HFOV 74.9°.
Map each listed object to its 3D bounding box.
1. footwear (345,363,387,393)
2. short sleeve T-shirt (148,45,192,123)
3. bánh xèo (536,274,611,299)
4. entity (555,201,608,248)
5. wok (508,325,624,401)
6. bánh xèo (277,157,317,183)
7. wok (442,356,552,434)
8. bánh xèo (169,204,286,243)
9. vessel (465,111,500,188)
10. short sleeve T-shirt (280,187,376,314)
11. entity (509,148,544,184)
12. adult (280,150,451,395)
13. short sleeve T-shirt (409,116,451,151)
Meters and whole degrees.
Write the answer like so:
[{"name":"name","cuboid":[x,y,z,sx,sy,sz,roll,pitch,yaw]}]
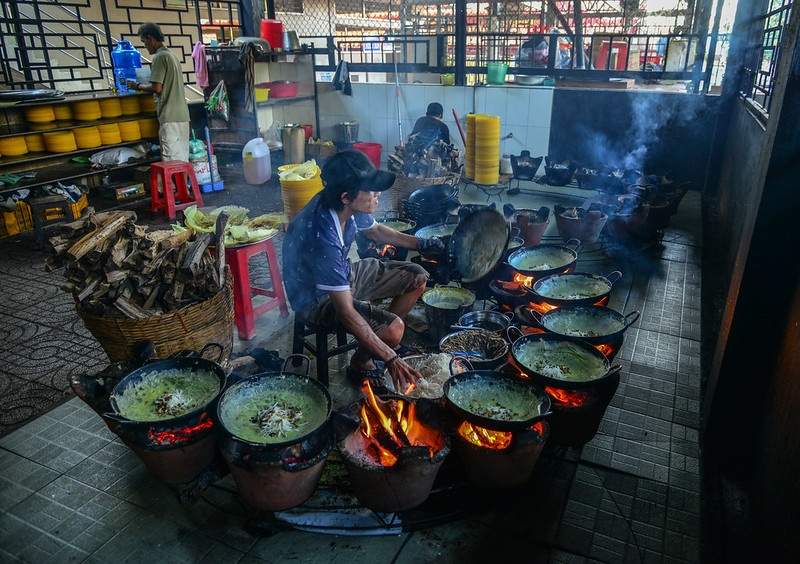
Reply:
[{"name":"footwear","cuboid":[-0.318,0.880,4.912,0.437,0.134,0.217,17,42,25]},{"name":"short sleeve T-shirt","cuboid":[-3.976,-3.374,8.964,0.520,1.232,0.312,-12,27,-21]},{"name":"bánh xèo","cuboid":[1.674,0.046,5.062,0.781,0.124,0.366,-2,25,-1]},{"name":"entity","cuboid":[2.441,-0.740,7.305,0.681,0.463,0.665,-3,27,-9]},{"name":"wok","cuboid":[1.316,0.645,4.196,0.651,0.188,0.520,22,36,34]},{"name":"bánh xèo","cuboid":[-1.477,-1.575,7.527,0.465,0.191,0.419,-9,34,10]},{"name":"wok","cuboid":[0.714,0.904,3.905,0.785,0.249,0.486,5,26,13]},{"name":"bánh xèo","cuboid":[-1.777,-0.623,5.724,0.731,0.191,0.714,-4,22,-22]},{"name":"vessel","cuboid":[1.336,-2.137,8.478,0.440,1.106,0.613,-17,29,-29]},{"name":"short sleeve T-shirt","cuboid":[-0.703,-0.215,4.565,0.676,1.121,0.734,-5,25,-7]},{"name":"entity","cuboid":[2.124,-1.979,8.884,0.551,0.378,0.506,-1,7,5]},{"name":"adult","cuboid":[-0.345,-0.025,5.120,1.427,2.205,1.862,5,47,5]},{"name":"short sleeve T-shirt","cuboid":[0.518,-2.588,8.961,0.622,0.411,1.290,1,25,4]}]
